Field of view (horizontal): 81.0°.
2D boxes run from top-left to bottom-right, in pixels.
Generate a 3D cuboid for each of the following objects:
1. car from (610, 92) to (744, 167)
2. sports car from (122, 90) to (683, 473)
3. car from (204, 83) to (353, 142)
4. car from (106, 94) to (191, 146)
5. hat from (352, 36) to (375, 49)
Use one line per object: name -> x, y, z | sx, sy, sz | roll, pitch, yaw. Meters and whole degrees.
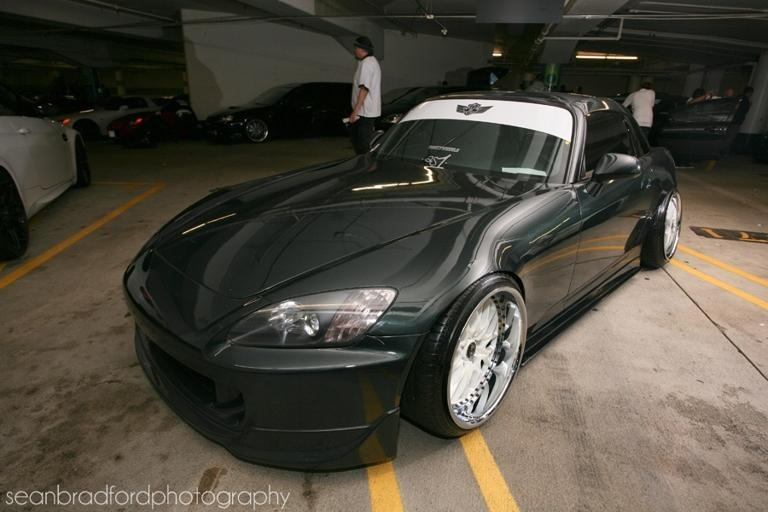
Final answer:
car -> 5.838, -2.796, 10.594 | 2.132, 1.370, 3.369 | -5, 12, -19
sports car -> 0.593, 0.055, 3.629 | 4.121, 1.333, 2.090 | -22, 36, -36
car -> -2.905, -4.092, 12.923 | 4.531, 1.431, 1.932 | -12, 22, -34
car -> -5.655, -3.514, 11.808 | 1.161, 0.651, 2.096 | 15, 30, 27
hat -> -0.354, -3.160, 6.702 | 0.207, 0.196, 0.443 | 4, 27, 4
